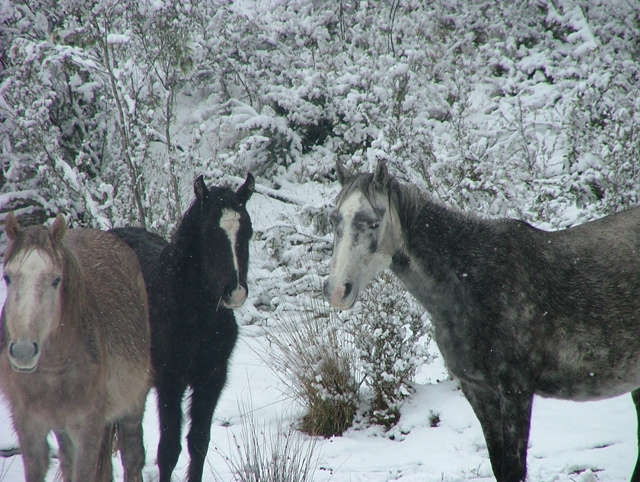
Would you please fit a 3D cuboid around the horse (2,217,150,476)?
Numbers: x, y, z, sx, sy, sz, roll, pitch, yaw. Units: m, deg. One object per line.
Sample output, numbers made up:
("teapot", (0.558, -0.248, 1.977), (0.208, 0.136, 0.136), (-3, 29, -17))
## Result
("horse", (-4.258, 1.881, 19.985), (2.460, 4.533, 1.595), (-1, 11, -13))
